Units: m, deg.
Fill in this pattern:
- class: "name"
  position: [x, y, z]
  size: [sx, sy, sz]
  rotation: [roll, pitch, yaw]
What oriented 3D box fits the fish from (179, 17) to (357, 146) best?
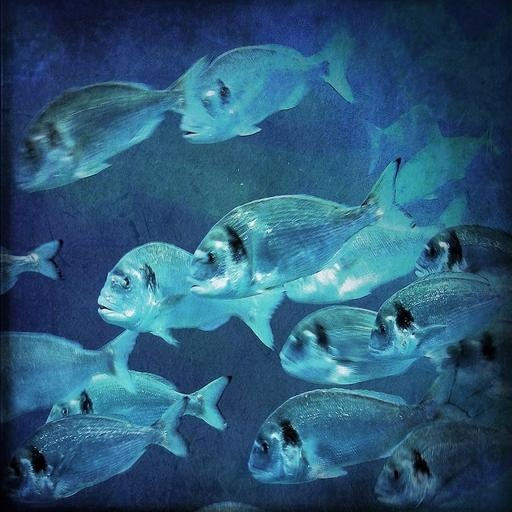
- class: "fish"
  position: [0.027, -0.451, 1.922]
  size: [0.585, 0.114, 0.216]
  rotation: [-22, -52, -31]
